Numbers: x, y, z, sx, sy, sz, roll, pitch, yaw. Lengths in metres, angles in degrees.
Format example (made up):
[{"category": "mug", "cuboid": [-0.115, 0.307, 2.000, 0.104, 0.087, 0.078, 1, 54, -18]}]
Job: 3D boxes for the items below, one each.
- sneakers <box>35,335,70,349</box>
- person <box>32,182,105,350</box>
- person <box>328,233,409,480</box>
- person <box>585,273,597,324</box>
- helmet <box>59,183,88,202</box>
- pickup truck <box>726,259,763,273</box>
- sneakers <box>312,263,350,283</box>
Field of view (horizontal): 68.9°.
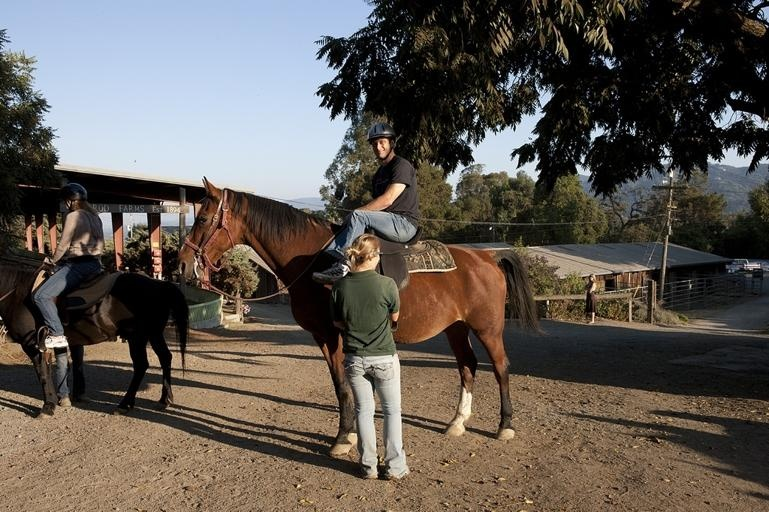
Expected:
[{"category": "sneakers", "cuboid": [-5.912, 1.514, 9.924, 0.560, 0.285, 0.253, 3, -2, 2]}, {"category": "person", "cuboid": [-5.666, 0.204, 10.072, 1.125, 2.990, 0.606, -4, 7, -33]}, {"category": "person", "cuboid": [-0.189, 1.454, 7.979, 1.054, 3.520, 0.383, 0, 6, 2]}, {"category": "person", "cuboid": [9.151, 1.891, 24.827, 0.398, 2.013, 1.495, 2, 6, 20]}, {"category": "helmet", "cuboid": [-5.676, -1.195, 10.193, 0.424, 0.374, 0.329, 22, 14, 27]}, {"category": "pickup truck", "cuboid": [36.934, 0.968, 57.680, 1.925, 1.015, 1.354, 1, -1, 11]}, {"category": "sneakers", "cuboid": [-0.780, 0.271, 8.422, 0.656, 0.255, 0.289, -10, -25, -4]}]
